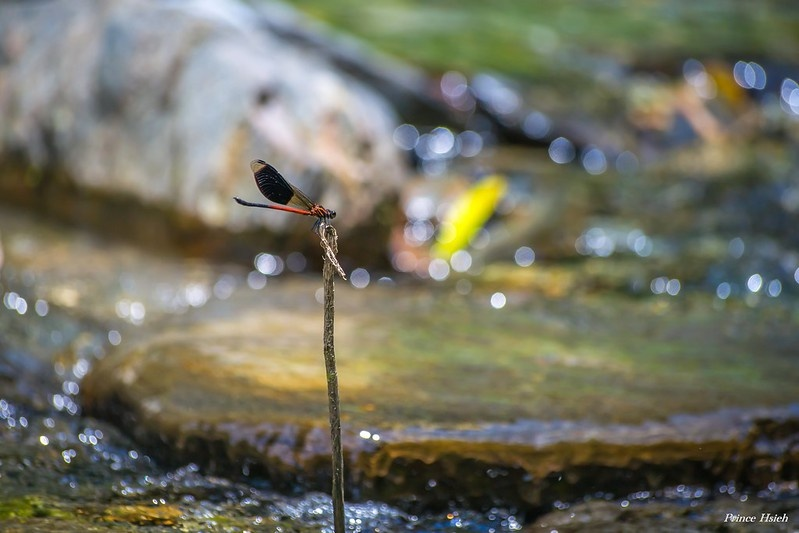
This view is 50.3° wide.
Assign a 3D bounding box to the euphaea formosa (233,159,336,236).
[{"bbox_3d":[-0.394,-0.260,3.044,0.329,0.221,0.345,4,7,-6],"label":"euphaea formosa"}]
